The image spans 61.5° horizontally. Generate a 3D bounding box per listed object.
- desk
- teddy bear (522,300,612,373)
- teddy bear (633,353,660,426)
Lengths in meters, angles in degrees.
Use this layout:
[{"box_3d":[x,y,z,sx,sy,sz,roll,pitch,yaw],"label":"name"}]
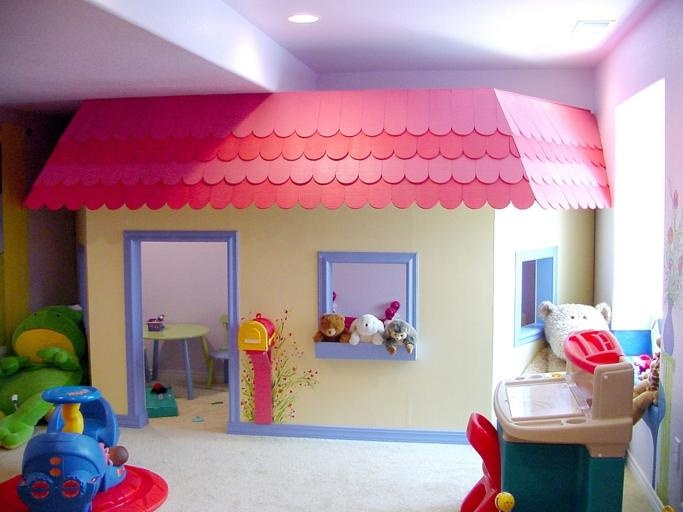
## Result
[{"box_3d":[-2.070,1.465,7.741,1.021,0.786,1.083,3,-7,-16],"label":"desk"},{"box_3d":[2.354,0.931,5.911,0.880,0.952,0.559,2,-10,21],"label":"teddy bear"},{"box_3d":[2.586,1.138,4.874,0.177,0.650,0.667,7,15,28],"label":"teddy bear"}]
